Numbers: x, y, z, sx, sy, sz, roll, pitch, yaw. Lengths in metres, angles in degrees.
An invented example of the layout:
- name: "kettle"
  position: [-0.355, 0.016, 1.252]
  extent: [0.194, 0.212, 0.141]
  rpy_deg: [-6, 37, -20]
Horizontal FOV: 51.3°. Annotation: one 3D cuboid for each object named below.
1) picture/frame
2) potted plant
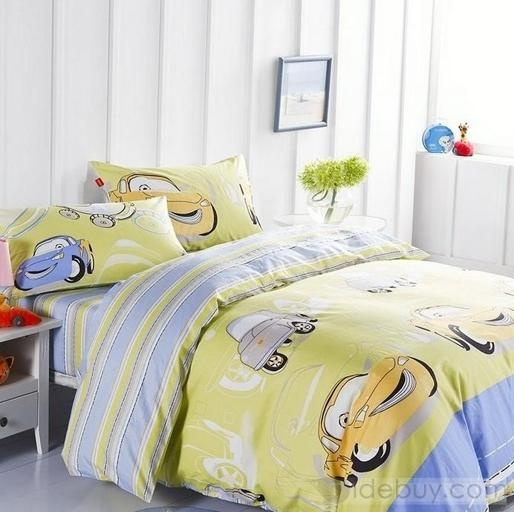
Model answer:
- name: "picture/frame"
  position: [0.269, -1.036, 3.381]
  extent: [0.050, 0.457, 0.660]
  rpy_deg: [13, 16, 39]
- name: "potted plant"
  position: [0.359, -0.366, 3.061]
  extent: [0.542, 0.404, 0.381]
  rpy_deg: [-5, 11, -16]
